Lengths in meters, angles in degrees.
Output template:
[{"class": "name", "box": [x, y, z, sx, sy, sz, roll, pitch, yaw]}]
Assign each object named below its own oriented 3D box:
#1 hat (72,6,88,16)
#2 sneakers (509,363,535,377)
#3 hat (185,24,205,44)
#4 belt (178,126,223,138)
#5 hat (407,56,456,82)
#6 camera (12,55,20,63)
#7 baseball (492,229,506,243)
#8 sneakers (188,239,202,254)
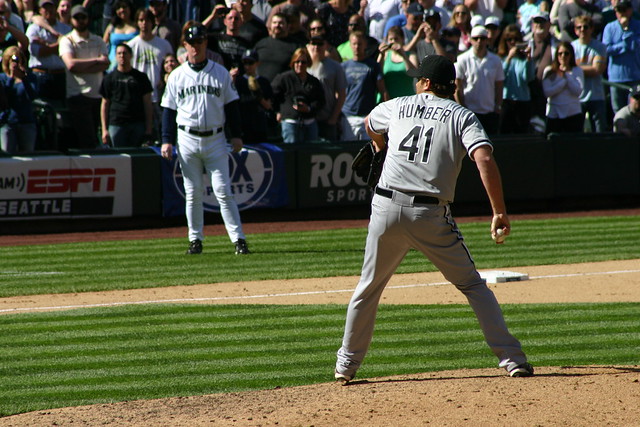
[{"class": "hat", "box": [-3.996, -3.350, 20.252, 0.241, 0.203, 0.315, -2, 3, -13]}, {"class": "sneakers", "box": [2.245, 1.713, 13.488, 0.317, 0.156, 0.114, -7, 13, -41]}, {"class": "hat", "box": [-1.762, -2.540, 17.264, 0.305, 0.270, 0.268, -1, 3, -5]}, {"class": "belt", "box": [-1.687, -1.182, 17.355, 0.605, 0.176, 0.186, -2, 3, -13]}, {"class": "hat", "box": [1.288, -1.620, 13.583, 0.376, 0.198, 0.279, 18, 27, 19]}, {"class": "camera", "box": [-4.857, -2.480, 19.520, 0.177, 0.125, 0.095, -3, -7, -16]}, {"class": "baseball", "box": [1.989, 0.232, 13.484, 0.096, 0.166, 0.054, 17, 37, -14]}, {"class": "sneakers", "box": [-1.819, 0.478, 18.071, 0.236, 0.237, 0.150, 5, 2, -2]}]
